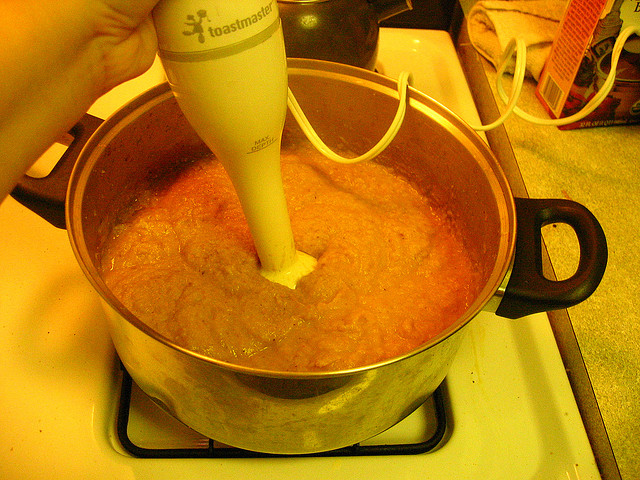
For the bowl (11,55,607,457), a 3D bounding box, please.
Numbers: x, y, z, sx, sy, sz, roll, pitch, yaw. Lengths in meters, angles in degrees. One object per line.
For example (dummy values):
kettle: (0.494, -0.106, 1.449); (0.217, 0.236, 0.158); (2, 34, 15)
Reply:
bowl: (-0.008, -0.037, 0.794); (0.659, 0.261, 0.518); (18, 59, 7)
